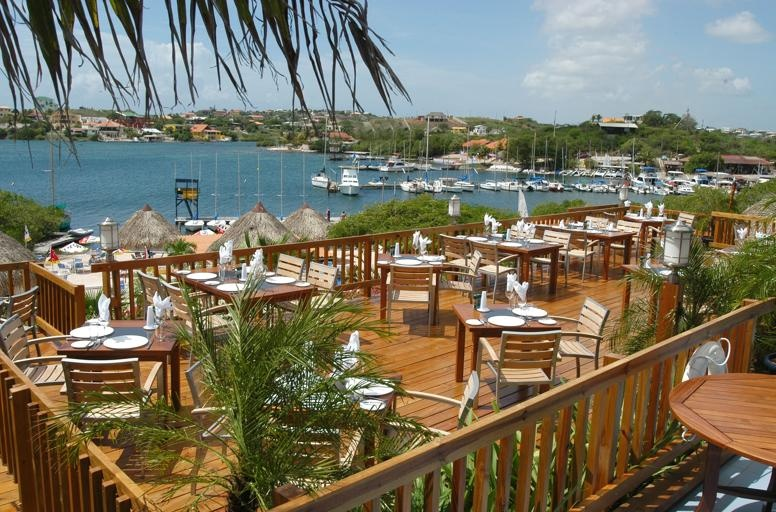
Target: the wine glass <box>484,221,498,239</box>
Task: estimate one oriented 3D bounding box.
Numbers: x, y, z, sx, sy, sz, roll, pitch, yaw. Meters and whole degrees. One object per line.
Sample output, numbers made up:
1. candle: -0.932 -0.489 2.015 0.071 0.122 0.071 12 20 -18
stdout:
1. wine glass: 1.873 -0.457 10.325 0.301 0.292 0.284 4 4 -8
